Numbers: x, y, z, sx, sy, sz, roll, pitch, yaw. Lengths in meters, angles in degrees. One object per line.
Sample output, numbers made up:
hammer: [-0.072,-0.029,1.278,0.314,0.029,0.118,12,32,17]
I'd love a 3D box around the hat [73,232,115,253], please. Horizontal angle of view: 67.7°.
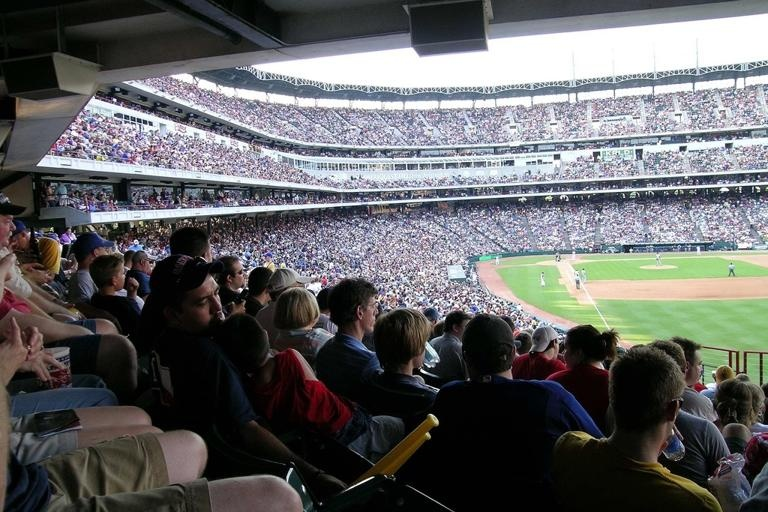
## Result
hat: [-4.093,-0.194,8.204,0.347,0.265,0.550,19,22,39]

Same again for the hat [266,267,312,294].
hat: [-1.243,0.306,7.428,0.402,0.178,0.263,-9,13,-42]

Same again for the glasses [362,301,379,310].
glasses: [-0.137,0.497,5.516,0.121,0.110,0.037,3,12,-25]

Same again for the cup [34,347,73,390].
cup: [-2.838,0.962,5.042,0.334,0.334,0.324,2,4,0]

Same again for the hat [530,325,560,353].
hat: [1.931,0.967,6.825,0.234,0.174,0.361,-6,11,35]
